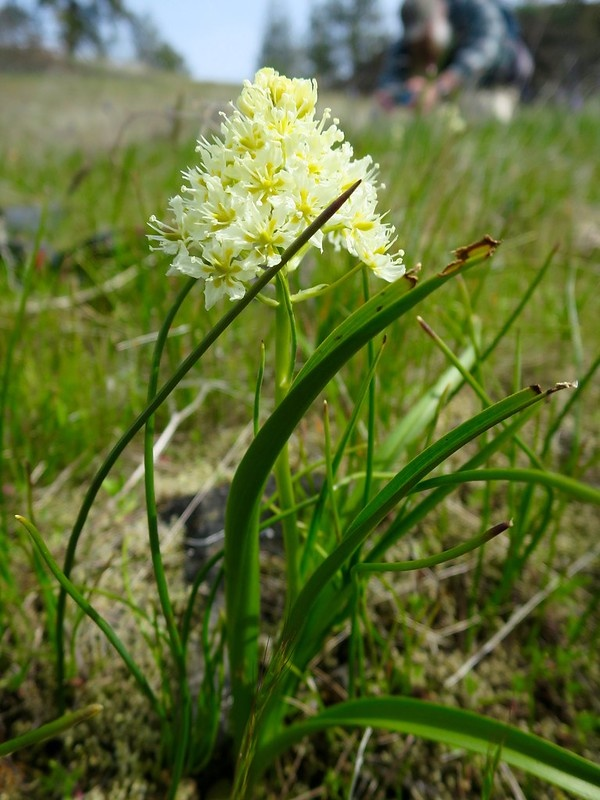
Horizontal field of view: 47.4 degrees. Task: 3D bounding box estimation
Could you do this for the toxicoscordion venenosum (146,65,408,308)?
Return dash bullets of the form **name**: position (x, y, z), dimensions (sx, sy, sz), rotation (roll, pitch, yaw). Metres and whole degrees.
- **toxicoscordion venenosum**: position (-0.045, -0.271, 0.945), dimensions (0.301, 0.351, 0.307), rotation (7, 23, 22)
